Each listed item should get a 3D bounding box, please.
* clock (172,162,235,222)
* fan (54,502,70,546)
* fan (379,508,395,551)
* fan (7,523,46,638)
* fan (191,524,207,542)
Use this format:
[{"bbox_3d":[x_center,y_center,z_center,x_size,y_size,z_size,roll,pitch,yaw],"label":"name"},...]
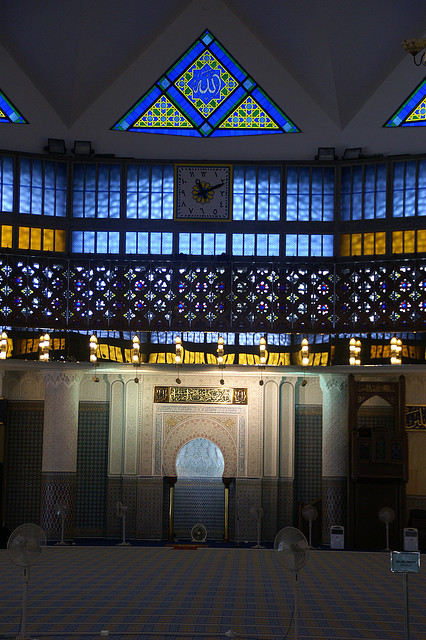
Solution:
[{"bbox_3d":[-0.230,-2.325,13.145,1.165,1.042,0.077,2,-2,-4],"label":"clock"},{"bbox_3d":[-2.679,3.608,12.956,0.268,0.667,0.542,1,-6,-12],"label":"fan"},{"bbox_3d":[2.918,3.587,12.461,0.234,0.809,0.968,-2,-6,13],"label":"fan"},{"bbox_3d":[-1.504,2.061,5.890,0.261,0.918,0.950,1,-6,-13],"label":"fan"},{"bbox_3d":[-0.277,4.013,13.801,0.343,0.357,0.271,1,-19,-1],"label":"fan"}]
